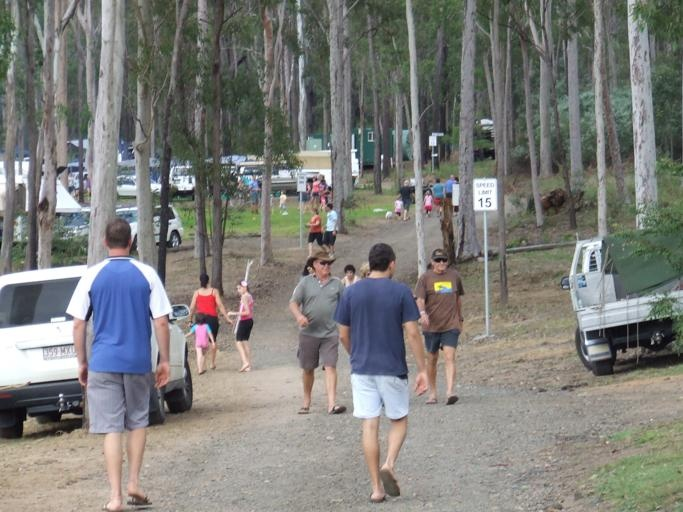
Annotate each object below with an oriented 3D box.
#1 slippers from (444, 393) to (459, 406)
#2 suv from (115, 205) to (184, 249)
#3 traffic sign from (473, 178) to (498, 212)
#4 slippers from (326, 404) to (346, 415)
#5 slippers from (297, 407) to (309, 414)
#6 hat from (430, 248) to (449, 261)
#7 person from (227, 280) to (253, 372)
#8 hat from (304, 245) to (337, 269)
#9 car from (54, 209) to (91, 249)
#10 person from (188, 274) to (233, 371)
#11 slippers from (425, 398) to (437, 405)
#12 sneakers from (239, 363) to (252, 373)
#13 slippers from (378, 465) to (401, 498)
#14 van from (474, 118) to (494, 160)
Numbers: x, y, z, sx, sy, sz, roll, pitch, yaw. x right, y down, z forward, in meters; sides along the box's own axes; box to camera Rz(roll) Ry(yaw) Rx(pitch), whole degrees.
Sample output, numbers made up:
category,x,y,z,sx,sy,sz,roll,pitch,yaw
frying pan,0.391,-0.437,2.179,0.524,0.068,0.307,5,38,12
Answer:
category,x,y,z,sx,sy,sz,roll,pitch,yaw
slippers,2.153,2.759,25.452,0.236,0.140,0.243,-6,2,0
suv,-6.910,-1.206,49.040,1.900,1.832,3.271,-1,-4,20
traffic sign,3.440,-1.492,31.197,0.626,0.981,0.096,0,4,0
slippers,-0.086,2.915,25.168,0.135,0.122,0.362,6,-29,-32
slippers,-0.751,2.997,25.521,0.248,0.128,0.101,6,1,4
hat,2.156,-0.058,28.557,0.242,0.252,0.393,4,-20,4
person,-2.349,1.611,31.257,0.510,1.746,2.396,-4,2,-5
hat,-0.432,-0.130,25.533,0.629,0.346,0.829,3,-21,-8
car,-9.135,-0.906,44.337,1.153,1.135,2.165,0,-5,5
person,-3.263,1.520,30.990,1.079,2.646,0.634,0,19,-5
slippers,1.757,2.822,25.633,0.090,0.103,0.199,3,4,-44
sneakers,-2.236,2.625,30.762,0.310,0.255,0.112,-5,-10,41
slippers,0.802,3.683,21.444,0.222,0.571,0.222,-14,17,31
van,8.871,-7.389,81.164,1.091,1.847,9.396,-4,2,7
